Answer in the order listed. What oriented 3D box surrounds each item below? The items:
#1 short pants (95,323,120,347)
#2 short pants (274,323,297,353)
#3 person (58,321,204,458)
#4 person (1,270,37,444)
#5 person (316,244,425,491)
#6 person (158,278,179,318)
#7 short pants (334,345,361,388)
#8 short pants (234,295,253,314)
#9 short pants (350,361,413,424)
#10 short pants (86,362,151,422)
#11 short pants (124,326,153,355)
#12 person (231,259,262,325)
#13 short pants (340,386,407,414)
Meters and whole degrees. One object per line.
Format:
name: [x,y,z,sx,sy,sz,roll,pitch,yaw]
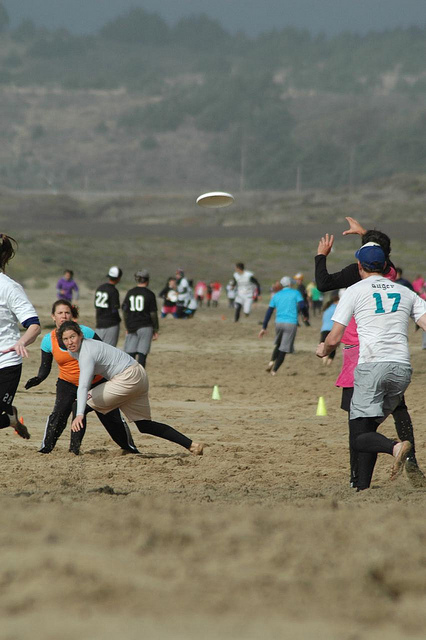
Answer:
short pants: [-1.302,0.206,10.902,0.243,0.315,0.483,5,10,10]
short pants: [0.956,0.241,12.000,0.263,0.439,0.303,3,11,3]
person: [-0.677,0.560,6.647,1.327,0.925,0.804,5,6,-16]
person: [-1.266,0.249,5.839,0.228,1.134,0.718,1,11,-11]
person: [0.944,0.350,5.405,0.597,1.582,0.495,6,12,18]
person: [-0.937,-0.344,19.411,0.508,1.102,0.422,6,11,4]
short pants: [0.896,0.311,5.883,0.253,0.299,0.270,3,-2,11]
short pants: [0.676,-0.315,19.859,0.333,0.448,0.656,3,10,-1]
short pants: [1.002,0.430,5.397,0.327,0.414,0.288,3,11,0]
short pants: [-0.694,0.544,6.636,0.482,0.467,0.303,0,11,-15]
short pants: [-0.897,0.236,10.688,0.342,0.341,0.254,3,11,2]
person: [0.670,-0.582,19.724,0.710,1.281,0.531,-1,3,-11]
short pants: [0.991,0.509,5.761,0.363,0.183,0.249,2,-1,8]
